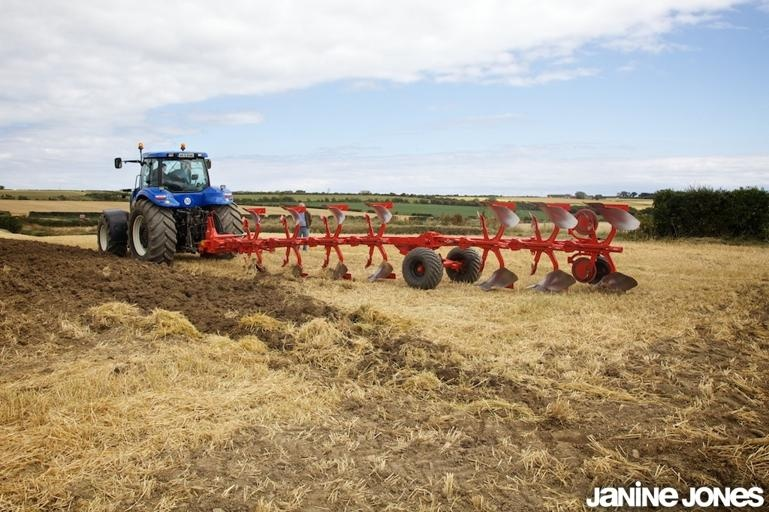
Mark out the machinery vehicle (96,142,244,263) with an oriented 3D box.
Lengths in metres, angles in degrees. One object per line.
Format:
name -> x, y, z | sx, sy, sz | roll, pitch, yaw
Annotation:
machinery vehicle -> -5.002, -1.188, 12.546 | 2.221, 2.077, 3.813 | -10, 13, -40
